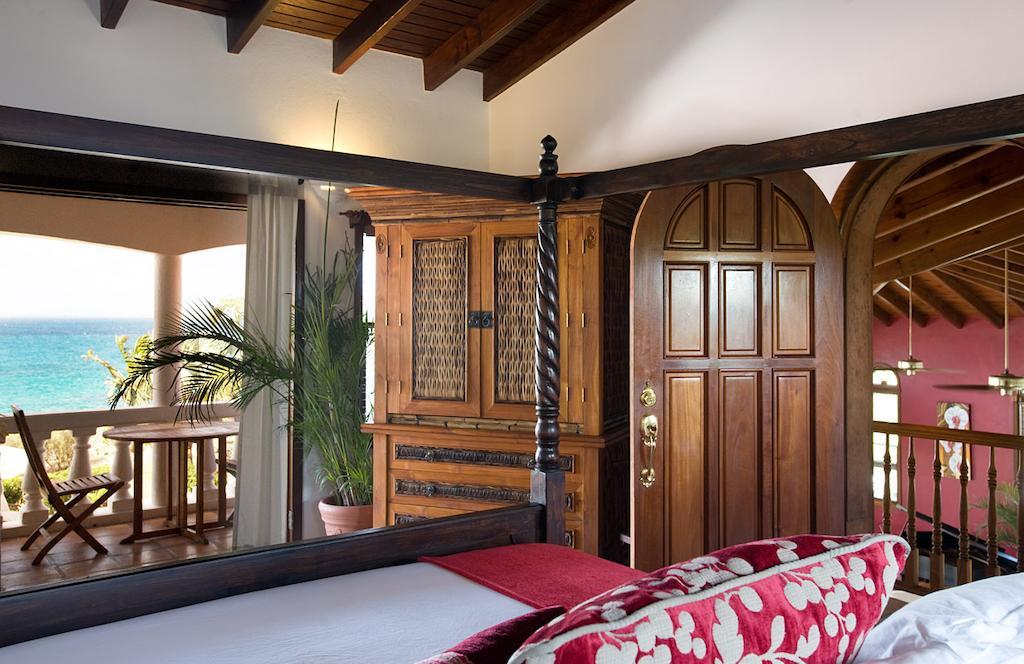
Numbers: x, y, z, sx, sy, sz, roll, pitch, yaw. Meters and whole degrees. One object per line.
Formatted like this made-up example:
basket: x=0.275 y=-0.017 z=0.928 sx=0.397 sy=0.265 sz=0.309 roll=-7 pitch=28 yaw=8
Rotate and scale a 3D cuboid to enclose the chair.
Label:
chair: x=-3.332 y=1.137 z=5.368 sx=0.705 sy=1.036 sz=0.814 roll=-3 pitch=-4 yaw=32
